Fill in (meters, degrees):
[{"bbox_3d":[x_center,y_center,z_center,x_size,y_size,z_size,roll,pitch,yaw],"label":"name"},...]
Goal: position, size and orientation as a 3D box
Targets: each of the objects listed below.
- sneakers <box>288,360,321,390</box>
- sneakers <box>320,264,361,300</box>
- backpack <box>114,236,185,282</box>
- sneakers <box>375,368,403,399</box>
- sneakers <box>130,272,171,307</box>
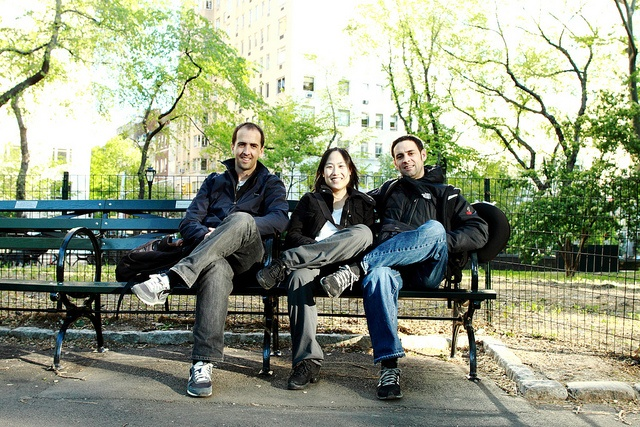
[{"bbox_3d":[-0.163,1.712,6.355,0.191,0.208,0.451,-1,-11,25],"label":"sneakers"},{"bbox_3d":[0.236,0.717,6.409,0.217,0.221,0.538,-35,-2,19],"label":"sneakers"},{"bbox_3d":[-1.923,0.495,6.830,0.691,0.276,0.475,-24,25,-19],"label":"backpack"},{"bbox_3d":[0.742,1.776,6.258,0.257,0.313,0.160,1,-1,5],"label":"sneakers"},{"bbox_3d":[-1.763,0.793,6.315,0.385,0.240,0.191,2,-2,-12],"label":"sneakers"}]
